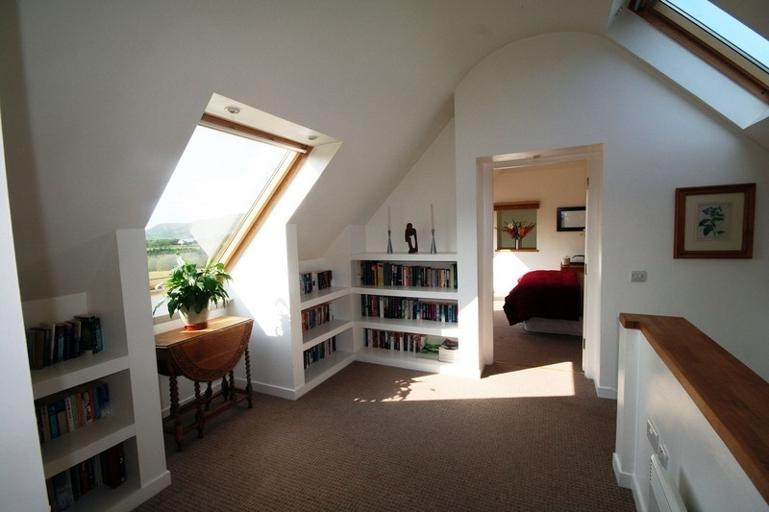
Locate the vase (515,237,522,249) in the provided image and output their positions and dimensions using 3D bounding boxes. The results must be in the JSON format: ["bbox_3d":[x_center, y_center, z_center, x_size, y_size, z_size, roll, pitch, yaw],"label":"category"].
[{"bbox_3d":[2.267,-0.197,8.585,0.152,0.248,0.149,0,-1,18],"label":"vase"}]

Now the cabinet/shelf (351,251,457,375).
[{"bbox_3d":[0.240,0.643,5.685,1.260,1.186,0.421,0,2,23],"label":"cabinet/shelf"}]

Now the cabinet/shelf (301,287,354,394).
[{"bbox_3d":[-0.631,0.915,5.455,0.296,0.763,0.909,-1,8,21],"label":"cabinet/shelf"}]

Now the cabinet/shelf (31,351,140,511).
[{"bbox_3d":[-2.163,1.083,3.643,0.618,0.734,0.461,-2,4,-39],"label":"cabinet/shelf"}]

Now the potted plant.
[{"bbox_3d":[-1.613,0.324,4.493,0.665,0.591,0.535,-1,2,26],"label":"potted plant"}]

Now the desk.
[{"bbox_3d":[-1.587,1.112,4.364,0.335,0.931,0.985,3,7,21],"label":"desk"}]

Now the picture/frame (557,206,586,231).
[{"bbox_3d":[3.031,-0.597,8.170,0.491,0.420,0.070,2,2,26],"label":"picture/frame"}]

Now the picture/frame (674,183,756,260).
[{"bbox_3d":[2.837,-0.304,4.302,0.630,0.758,0.055,1,4,15],"label":"picture/frame"}]

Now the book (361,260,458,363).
[{"bbox_3d":[0.306,0.619,5.700,1.120,0.980,0.344,0,1,17],"label":"book"}]

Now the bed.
[{"bbox_3d":[2.093,0.628,6.602,0.965,0.713,0.868,3,4,25],"label":"bed"}]
